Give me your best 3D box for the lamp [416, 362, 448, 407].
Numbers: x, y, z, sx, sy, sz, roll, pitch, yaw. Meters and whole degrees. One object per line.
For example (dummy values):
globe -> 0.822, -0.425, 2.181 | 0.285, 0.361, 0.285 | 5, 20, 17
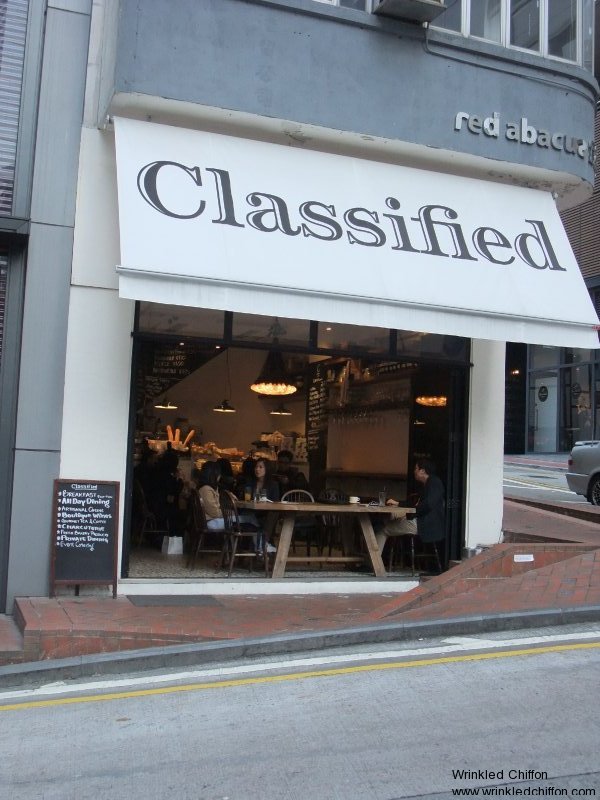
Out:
lamp -> 1.936, -0.191, 10.741 | 0.559, 0.545, 1.019 | 1, -4, 5

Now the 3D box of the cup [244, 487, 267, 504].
cup -> -0.590, 1.281, 9.622 | 0.287, 0.192, 0.159 | 0, -3, 9

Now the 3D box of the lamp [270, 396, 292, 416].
lamp -> -0.438, 0.171, 17.056 | 0.476, 0.494, 0.497 | 1, -7, 2

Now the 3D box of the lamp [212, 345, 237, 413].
lamp -> -1.783, -0.451, 17.543 | 0.583, 1.612, 0.629 | 3, -4, -23

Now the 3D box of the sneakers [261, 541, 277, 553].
sneakers -> -0.381, 1.913, 9.366 | 0.218, 0.105, 0.290 | 10, -4, -14
